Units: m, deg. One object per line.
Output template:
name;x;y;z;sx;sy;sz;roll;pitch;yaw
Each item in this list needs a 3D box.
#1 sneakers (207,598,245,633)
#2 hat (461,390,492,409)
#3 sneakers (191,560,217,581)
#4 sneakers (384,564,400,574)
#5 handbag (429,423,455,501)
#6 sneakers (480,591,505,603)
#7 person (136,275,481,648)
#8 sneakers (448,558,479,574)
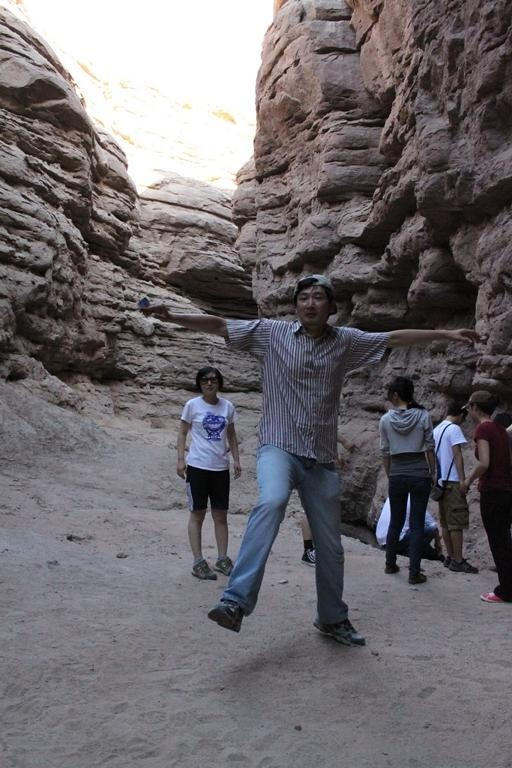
sneakers;-0.133;1.049;3.011;0.121;0.141;0.151;2;-1;29
hat;1.706;0.119;5.171;0.138;0.101;0.203;9;-6;-31
sneakers;-0.382;1.382;4.988;0.088;0.102;0.227;9;-15;-36
sneakers;1.108;1.488;5.452;0.058;0.081;0.123;2;5;32
handbag;1.619;0.700;5.834;0.108;1.044;0.291;8;-29;14
sneakers;1.589;1.443;4.576;0.094;0.066;0.177;2;-1;-26
person;0.212;0.393;3.466;1.235;1.901;0.563;2;0;-32
sneakers;1.765;1.569;5.803;0.282;0.118;0.096;4;-9;7
